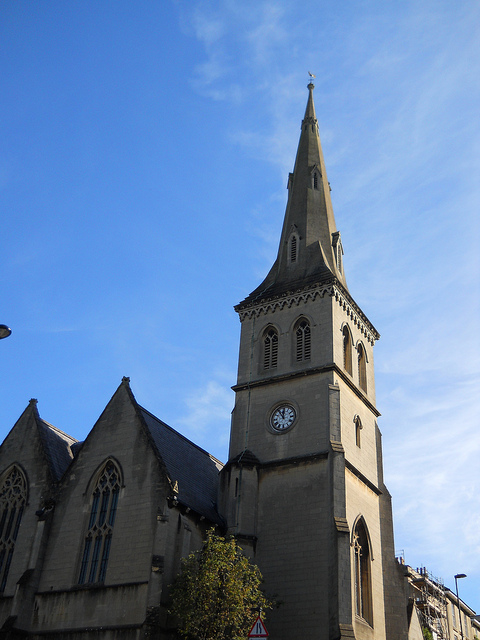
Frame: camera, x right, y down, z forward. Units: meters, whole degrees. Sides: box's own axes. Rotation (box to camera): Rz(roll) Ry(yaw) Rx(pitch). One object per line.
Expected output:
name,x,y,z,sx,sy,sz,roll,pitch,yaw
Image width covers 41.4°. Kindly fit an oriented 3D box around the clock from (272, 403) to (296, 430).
clock,2.191,4.936,32.292,1.367,1.476,0.366,-25,-41,37
